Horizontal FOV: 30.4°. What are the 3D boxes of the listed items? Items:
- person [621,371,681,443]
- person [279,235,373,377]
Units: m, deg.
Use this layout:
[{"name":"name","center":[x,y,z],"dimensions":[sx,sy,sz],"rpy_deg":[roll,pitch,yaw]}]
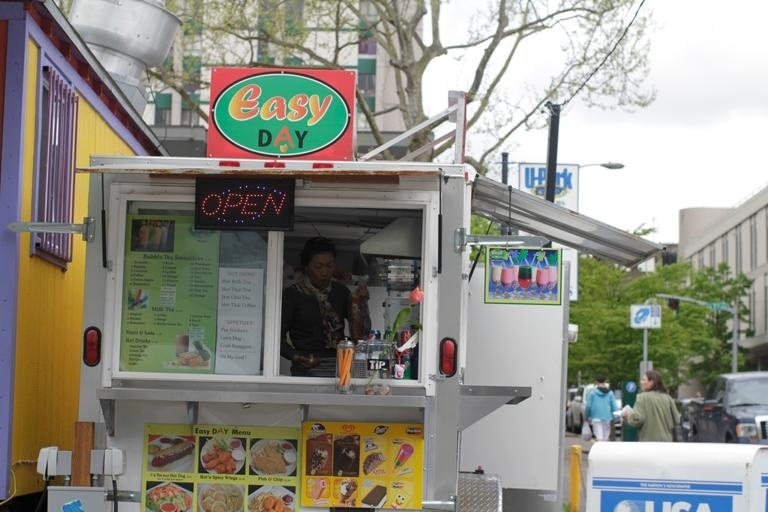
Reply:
[{"name":"person","center":[4.106,2.288,21.652],"dimensions":[0.846,1.106,0.639],"rpy_deg":[1,-9,11]},{"name":"person","center":[-0.736,0.636,17.209],"dimensions":[1.044,1.719,0.542],"rpy_deg":[3,-9,-4]}]
